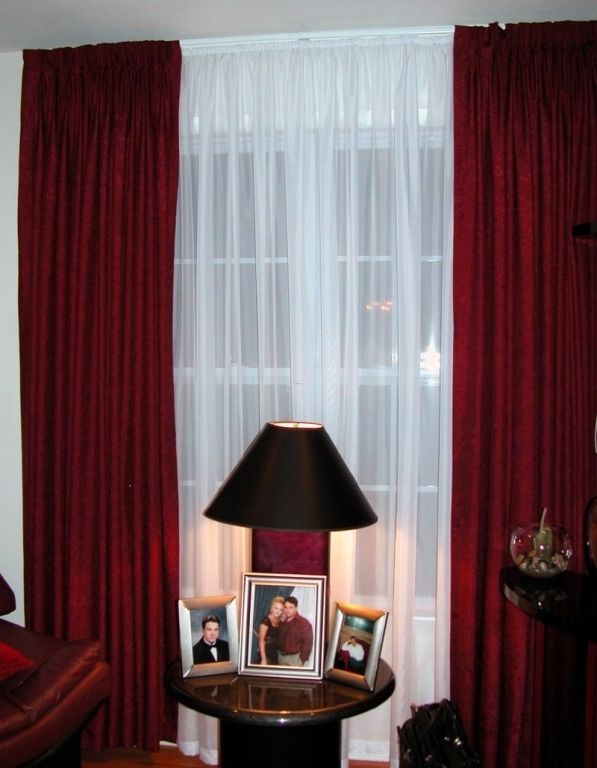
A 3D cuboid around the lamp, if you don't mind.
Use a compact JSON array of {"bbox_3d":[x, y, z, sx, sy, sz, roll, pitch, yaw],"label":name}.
[{"bbox_3d":[-0.024,0.270,2.114,0.274,0.251,0.355,6,3,15],"label":"lamp"}]
